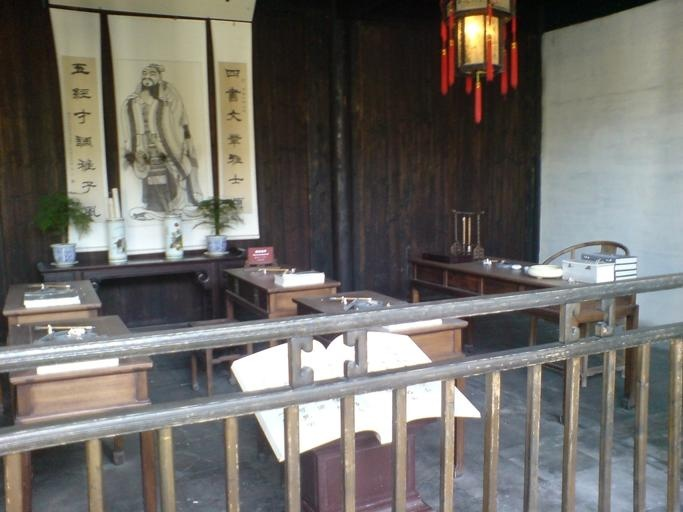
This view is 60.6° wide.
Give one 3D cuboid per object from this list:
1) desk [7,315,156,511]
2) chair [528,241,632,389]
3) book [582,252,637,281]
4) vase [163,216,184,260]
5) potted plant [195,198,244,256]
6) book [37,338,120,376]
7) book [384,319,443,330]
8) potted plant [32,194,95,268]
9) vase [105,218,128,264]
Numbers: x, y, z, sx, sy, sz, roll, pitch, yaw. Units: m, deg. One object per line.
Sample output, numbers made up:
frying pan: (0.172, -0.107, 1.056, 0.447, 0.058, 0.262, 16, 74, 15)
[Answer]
desk: (-1.032, 0.643, 2.315, 0.459, 0.475, 0.946, -3, 7, -24)
chair: (1.862, 0.402, 4.501, 0.738, 0.662, 2.670, -6, 2, 26)
book: (1.794, 0.066, 3.907, 0.330, 0.176, 0.318, -7, 2, 22)
vase: (-1.483, -0.165, 5.166, 0.173, 0.387, 0.183, -9, 3, -22)
potted plant: (-1.172, -0.259, 5.608, 0.558, 0.571, 0.484, 0, -1, -31)
book: (-1.155, 0.484, 2.549, 0.340, 0.074, 0.168, -8, 2, -19)
book: (0.302, 0.294, 2.489, 0.178, 0.036, 0.117, -4, 2, -24)
potted plant: (-2.440, -0.211, 5.184, 0.535, 0.779, 0.615, -2, 3, -8)
vase: (-1.933, -0.125, 5.004, 0.160, 0.385, 0.189, -8, 3, -18)
